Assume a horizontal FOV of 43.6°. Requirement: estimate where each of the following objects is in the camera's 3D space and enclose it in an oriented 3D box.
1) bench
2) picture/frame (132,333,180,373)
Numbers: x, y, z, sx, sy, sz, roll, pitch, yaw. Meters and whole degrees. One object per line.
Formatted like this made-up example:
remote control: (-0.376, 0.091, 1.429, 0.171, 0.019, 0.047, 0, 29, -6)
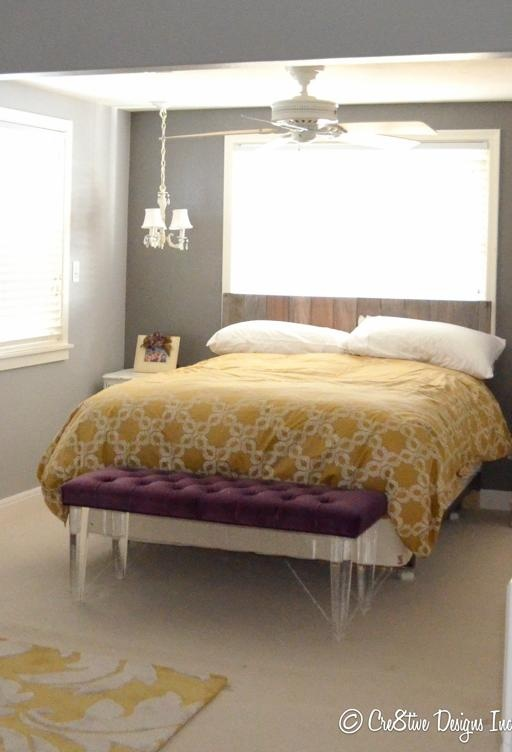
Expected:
bench: (-0.109, 0.629, 2.352, 1.143, 0.544, 0.482, 2, 0, 22)
picture/frame: (-0.716, -0.165, 4.664, 0.297, 0.248, 0.030, 2, -11, 14)
